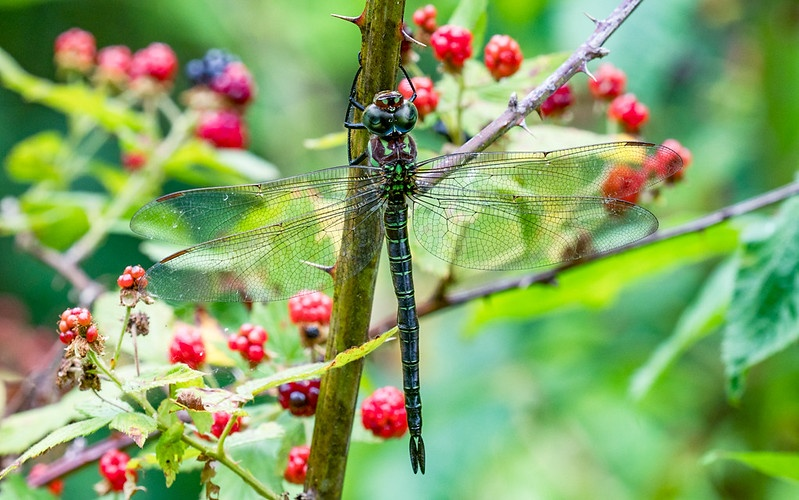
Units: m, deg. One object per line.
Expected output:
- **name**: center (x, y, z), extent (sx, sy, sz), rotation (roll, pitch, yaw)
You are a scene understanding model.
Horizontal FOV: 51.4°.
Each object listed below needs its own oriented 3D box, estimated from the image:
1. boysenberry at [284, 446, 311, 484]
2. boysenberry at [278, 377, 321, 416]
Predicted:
- **boysenberry**: center (-0.343, 0.715, 2.762), extent (0.093, 0.125, 0.044), rotation (-8, -13, -3)
- **boysenberry**: center (-0.319, 0.470, 2.691), extent (0.103, 0.099, 0.145), rotation (35, 7, -5)
